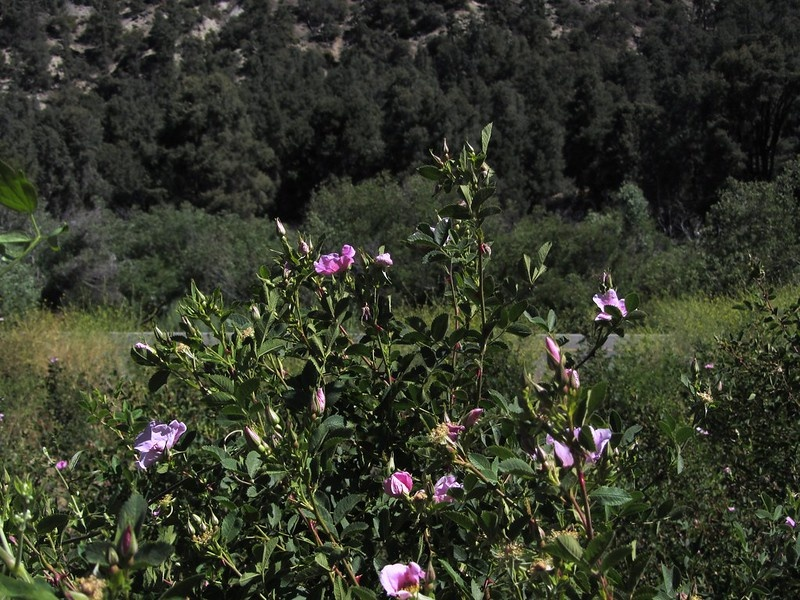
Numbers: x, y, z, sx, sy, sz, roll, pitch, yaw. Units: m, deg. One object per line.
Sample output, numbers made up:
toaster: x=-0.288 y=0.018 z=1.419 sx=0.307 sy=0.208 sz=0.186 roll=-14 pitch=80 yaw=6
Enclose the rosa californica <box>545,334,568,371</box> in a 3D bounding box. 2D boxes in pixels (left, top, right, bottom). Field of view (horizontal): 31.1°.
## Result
rosa californica: x=7.635 y=2.705 z=70.879 sx=0.612 sy=2.288 sz=0.755 roll=-12 pitch=3 yaw=38
